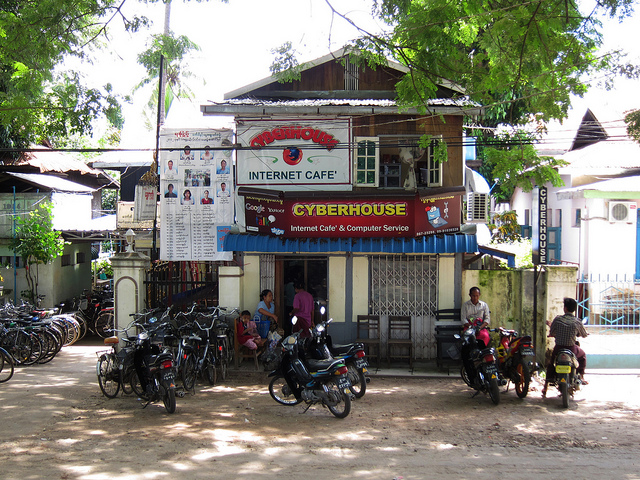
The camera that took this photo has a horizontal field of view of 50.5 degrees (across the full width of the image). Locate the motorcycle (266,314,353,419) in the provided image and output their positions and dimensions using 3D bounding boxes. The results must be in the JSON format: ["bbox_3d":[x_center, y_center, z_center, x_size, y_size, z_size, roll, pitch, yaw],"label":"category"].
[{"bbox_3d":[-0.159,2.520,13.582,2.101,1.873,0.734,1,14,43],"label":"motorcycle"}]

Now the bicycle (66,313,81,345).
[{"bbox_3d":[-6.838,2.536,19.245,0.658,0.700,0.169,17,6,22],"label":"bicycle"}]

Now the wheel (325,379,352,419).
[{"bbox_3d":[0.326,3.073,13.294,0.197,0.827,0.788,-16,-6,-34],"label":"wheel"}]

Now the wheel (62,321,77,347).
[{"bbox_3d":[-6.985,2.678,19.113,0.569,0.627,0.144,17,6,25],"label":"wheel"}]

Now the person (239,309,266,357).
[{"bbox_3d":[-1.647,2.155,16.283,0.564,1.004,0.653,-5,11,-8],"label":"person"}]

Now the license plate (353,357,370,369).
[{"bbox_3d":[0.880,2.573,14.311,0.466,0.245,0.174,-5,10,-35],"label":"license plate"}]

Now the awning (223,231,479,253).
[{"bbox_3d":[0.794,0.046,16.740,6.083,0.529,0.303,1,9,6],"label":"awning"}]

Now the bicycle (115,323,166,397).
[{"bbox_3d":[-3.734,2.138,14.044,0.734,0.948,1.421,6,-6,-39],"label":"bicycle"}]

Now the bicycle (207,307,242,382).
[{"bbox_3d":[-2.232,2.324,16.264,0.948,1.297,2.097,-4,5,0],"label":"bicycle"}]

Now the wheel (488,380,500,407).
[{"bbox_3d":[3.582,3.114,13.927,0.216,0.500,0.314,3,9,16],"label":"wheel"}]

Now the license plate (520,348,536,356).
[{"bbox_3d":[4.323,2.302,14.153,0.287,0.161,0.156,0,8,-4],"label":"license plate"}]

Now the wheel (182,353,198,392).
[{"bbox_3d":[-2.794,2.863,14.583,0.153,0.795,0.603,3,9,16],"label":"wheel"}]

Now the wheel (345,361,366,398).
[{"bbox_3d":[0.740,2.875,14.048,0.232,0.808,0.758,-12,6,-7],"label":"wheel"}]

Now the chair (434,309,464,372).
[{"bbox_3d":[3.165,2.388,16.753,0.656,1.360,0.834,2,9,10],"label":"chair"}]

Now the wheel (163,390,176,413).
[{"bbox_3d":[-2.930,3.148,13.302,0.195,0.453,0.213,0,9,0],"label":"wheel"}]

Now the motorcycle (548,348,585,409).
[{"bbox_3d":[5.104,2.799,14.070,0.436,1.101,0.771,5,10,30],"label":"motorcycle"}]

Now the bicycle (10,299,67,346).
[{"bbox_3d":[-7.674,2.269,18.018,1.615,1.110,0.836,5,-5,-7],"label":"bicycle"}]

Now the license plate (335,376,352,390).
[{"bbox_3d":[0.458,2.732,13.109,0.293,0.205,0.199,0,8,-1],"label":"license plate"}]

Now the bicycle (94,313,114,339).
[{"bbox_3d":[-6.188,2.470,19.593,0.285,1.014,0.980,1,4,-41],"label":"bicycle"}]

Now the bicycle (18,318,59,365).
[{"bbox_3d":[-7.233,2.587,17.234,1.158,0.779,0.601,4,1,-2],"label":"bicycle"}]

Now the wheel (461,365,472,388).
[{"bbox_3d":[3.223,2.952,14.900,0.199,0.568,0.568,1,8,6],"label":"wheel"}]

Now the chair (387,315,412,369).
[{"bbox_3d":[1.995,2.493,16.800,0.833,1.263,0.863,-2,-5,37],"label":"chair"}]

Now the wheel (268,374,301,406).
[{"bbox_3d":[-0.774,3.010,14.128,0.571,0.661,1.007,-2,9,-17],"label":"wheel"}]

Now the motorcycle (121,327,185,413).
[{"bbox_3d":[-3.361,2.609,13.934,0.947,1.504,2.300,-10,4,-33],"label":"motorcycle"}]

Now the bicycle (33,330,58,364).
[{"bbox_3d":[-6.995,2.681,17.184,0.154,0.739,0.677,-7,5,-39],"label":"bicycle"}]

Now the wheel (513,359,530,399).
[{"bbox_3d":[4.232,2.901,14.286,0.342,0.861,0.197,3,9,18],"label":"wheel"}]

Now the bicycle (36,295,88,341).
[{"bbox_3d":[-7.278,2.362,20.090,1.023,1.427,2.182,-18,-2,-15],"label":"bicycle"}]

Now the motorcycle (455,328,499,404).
[{"bbox_3d":[3.463,2.619,14.569,0.794,1.507,2.103,-10,-2,0],"label":"motorcycle"}]

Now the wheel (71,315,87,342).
[{"bbox_3d":[-7.279,2.636,20.586,0.664,0.699,0.162,6,12,38],"label":"wheel"}]

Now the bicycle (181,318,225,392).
[{"bbox_3d":[-2.598,2.474,15.269,0.798,1.390,2.102,-4,-2,11],"label":"bicycle"}]

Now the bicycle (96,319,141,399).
[{"bbox_3d":[-4.498,2.670,15.077,1.032,1.181,1.793,1,-1,1],"label":"bicycle"}]

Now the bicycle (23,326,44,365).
[{"bbox_3d":[-7.131,2.705,17.107,0.171,0.755,0.785,2,-34,20],"label":"bicycle"}]

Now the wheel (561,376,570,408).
[{"bbox_3d":[5.040,3.109,13.866,0.278,0.548,0.169,-8,12,-44],"label":"wheel"}]

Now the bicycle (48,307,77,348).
[{"bbox_3d":[-7.346,2.442,19.074,1.090,0.741,0.561,3,5,0],"label":"bicycle"}]

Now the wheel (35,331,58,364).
[{"bbox_3d":[-6.889,2.702,17.315,0.148,0.697,0.643,-13,4,-37],"label":"wheel"}]

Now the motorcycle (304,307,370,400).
[{"bbox_3d":[0.275,2.339,14.473,2.092,1.713,1.060,9,11,39],"label":"motorcycle"}]

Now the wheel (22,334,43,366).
[{"bbox_3d":[-7.160,2.803,17.152,0.134,0.623,0.593,10,-27,-34],"label":"wheel"}]
